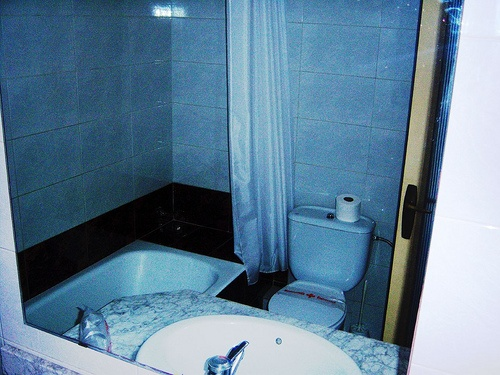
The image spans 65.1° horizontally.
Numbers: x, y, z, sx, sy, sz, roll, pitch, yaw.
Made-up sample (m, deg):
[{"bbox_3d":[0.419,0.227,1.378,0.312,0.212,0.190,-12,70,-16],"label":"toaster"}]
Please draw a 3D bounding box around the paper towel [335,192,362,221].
[{"bbox_3d":[0.307,0.058,1.226,0.090,0.084,0.089,-10,13,-42],"label":"paper towel"}]

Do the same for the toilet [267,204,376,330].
[{"bbox_3d":[0.226,0.186,1.337,0.280,0.398,0.389,13,27,27],"label":"toilet"}]
